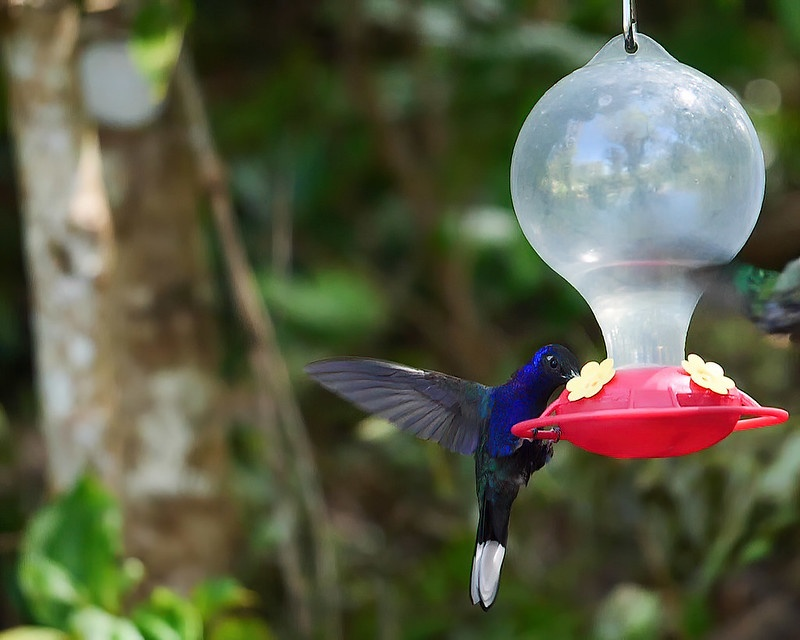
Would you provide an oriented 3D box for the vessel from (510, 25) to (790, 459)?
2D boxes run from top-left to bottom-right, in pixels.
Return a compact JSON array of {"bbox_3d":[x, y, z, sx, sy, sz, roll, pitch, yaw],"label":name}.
[{"bbox_3d":[0.490,-0.156,2.704,0.525,0.877,0.367,-5,-11,13],"label":"vessel"}]
